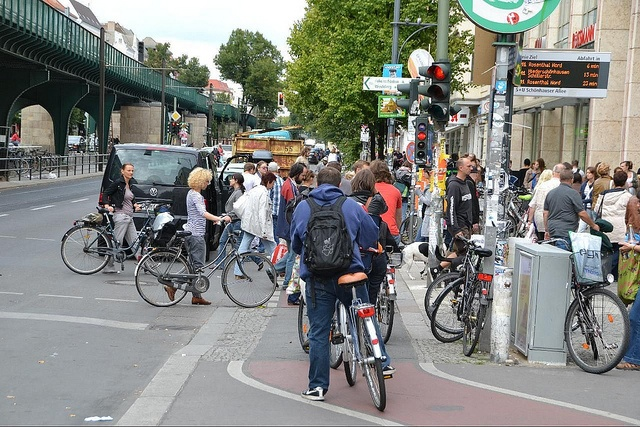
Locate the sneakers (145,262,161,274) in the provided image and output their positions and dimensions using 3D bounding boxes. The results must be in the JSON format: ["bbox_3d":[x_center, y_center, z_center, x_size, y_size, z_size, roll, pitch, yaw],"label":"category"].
[{"bbox_3d":[-2.785,0.906,10.488,0.359,0.113,0.145,-7,9,-1],"label":"sneakers"}]

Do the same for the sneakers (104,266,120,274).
[{"bbox_3d":[-4.463,1.191,13.237,0.307,0.222,0.103,-4,8,-25],"label":"sneakers"}]

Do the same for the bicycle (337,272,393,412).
[{"bbox_3d":[0.453,1.352,6.796,0.535,1.440,1.039,-1,7,-19],"label":"bicycle"}]

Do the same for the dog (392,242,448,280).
[{"bbox_3d":[2.030,0.913,12.631,1.189,0.723,0.325,-2,9,-33],"label":"dog"}]

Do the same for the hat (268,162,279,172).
[{"bbox_3d":[-1.047,-1.080,13.886,0.188,0.255,0.250,3,15,1],"label":"hat"}]

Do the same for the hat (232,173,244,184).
[{"bbox_3d":[-1.821,-0.806,13.752,0.183,0.233,0.226,-19,22,-39],"label":"hat"}]

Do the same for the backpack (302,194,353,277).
[{"bbox_3d":[0.081,0.221,6.789,0.534,0.881,0.472,-4,3,-4],"label":"backpack"}]

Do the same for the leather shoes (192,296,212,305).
[{"bbox_3d":[-2.070,1.512,10.944,0.388,0.181,0.128,-2,5,-13],"label":"leather shoes"}]

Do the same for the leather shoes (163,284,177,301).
[{"bbox_3d":[-2.567,1.342,10.664,0.247,0.342,0.120,-1,8,20],"label":"leather shoes"}]

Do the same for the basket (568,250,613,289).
[{"bbox_3d":[3.578,0.644,8.088,0.482,0.458,0.578,-4,7,34],"label":"basket"}]

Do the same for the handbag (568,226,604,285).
[{"bbox_3d":[3.460,0.586,7.991,0.411,0.707,0.231,0,21,18],"label":"handbag"}]

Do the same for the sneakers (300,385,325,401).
[{"bbox_3d":[-0.080,1.958,6.751,0.259,0.123,0.112,5,3,43],"label":"sneakers"}]

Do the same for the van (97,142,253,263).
[{"bbox_3d":[-3.639,-0.471,15.744,2.591,2.010,3.687,2,8,5],"label":"van"}]

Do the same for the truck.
[{"bbox_3d":[-2.863,-3.773,32.241,3.873,3.098,3.995,-1,1,1],"label":"truck"}]

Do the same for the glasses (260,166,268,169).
[{"bbox_3d":[-1.327,-1.124,14.601,0.094,0.069,0.122,0,-4,-19],"label":"glasses"}]

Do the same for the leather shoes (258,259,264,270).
[{"bbox_3d":[-1.048,0.903,10.898,0.072,0.132,0.195,-9,-25,-32],"label":"leather shoes"}]

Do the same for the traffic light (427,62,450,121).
[{"bbox_3d":[2.275,-2.360,11.820,0.527,1.182,0.362,1,7,-2],"label":"traffic light"}]

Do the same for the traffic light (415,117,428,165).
[{"bbox_3d":[2.400,-1.773,14.568,0.299,1.164,0.612,2,7,8],"label":"traffic light"}]

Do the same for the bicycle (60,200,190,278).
[{"bbox_3d":[-4.121,0.508,13.137,2.628,1.591,1.070,3,-4,-31],"label":"bicycle"}]

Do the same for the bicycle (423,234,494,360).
[{"bbox_3d":[1.974,1.110,8.847,0.769,1.522,1.618,2,7,4],"label":"bicycle"}]

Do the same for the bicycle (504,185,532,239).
[{"bbox_3d":[6.018,-0.184,18.727,0.643,1.537,5.467,4,7,18],"label":"bicycle"}]

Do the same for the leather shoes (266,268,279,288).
[{"bbox_3d":[-0.832,1.088,10.977,0.131,0.392,0.168,-26,5,15],"label":"leather shoes"}]

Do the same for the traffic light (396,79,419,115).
[{"bbox_3d":[2.197,-2.933,15.204,0.474,0.816,1.116,1,7,-3],"label":"traffic light"}]
